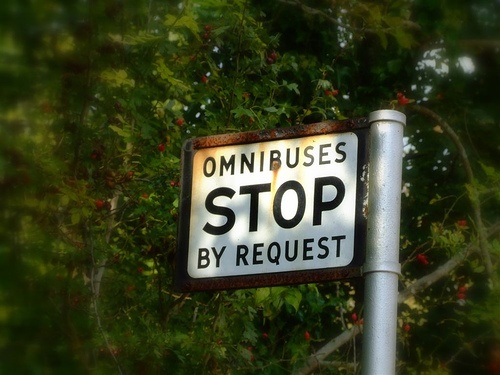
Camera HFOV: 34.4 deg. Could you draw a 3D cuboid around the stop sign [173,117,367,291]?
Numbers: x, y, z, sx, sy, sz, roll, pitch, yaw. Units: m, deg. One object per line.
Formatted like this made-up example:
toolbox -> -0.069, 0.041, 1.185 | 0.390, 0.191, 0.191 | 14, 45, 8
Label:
stop sign -> 0.078, 0.074, 2.931 | 0.843, 0.122, 0.766 | -5, 73, 23
